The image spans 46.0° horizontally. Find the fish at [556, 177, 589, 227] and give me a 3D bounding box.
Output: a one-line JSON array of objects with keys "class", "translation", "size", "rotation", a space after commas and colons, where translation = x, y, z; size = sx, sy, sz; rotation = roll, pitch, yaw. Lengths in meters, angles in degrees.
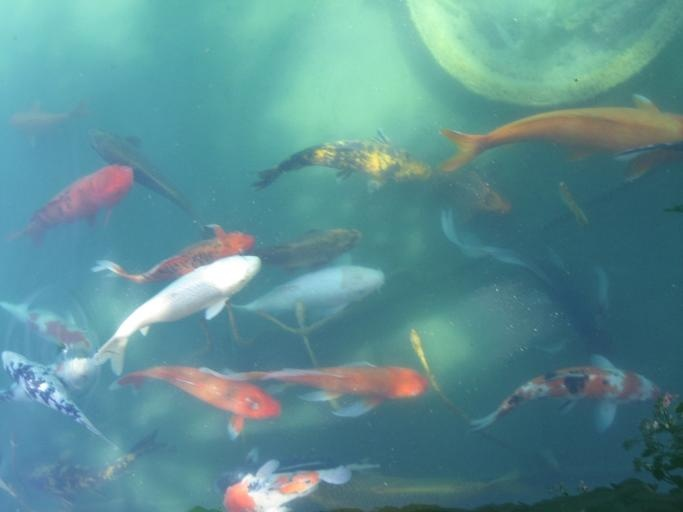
[{"class": "fish", "translation": [2.403, -0.580, 8.515], "size": [0.173, 0.602, 0.072], "rotation": [-36, -6, 14]}]

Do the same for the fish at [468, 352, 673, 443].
[{"class": "fish", "translation": [2.484, 1.442, 8.607], "size": [1.515, 0.734, 0.470], "rotation": [-1, -8, 17]}]

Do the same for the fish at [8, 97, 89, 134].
[{"class": "fish", "translation": [-3.440, -1.608, 9.346], "size": [0.599, 0.186, 0.415], "rotation": [-8, -22, -3]}]
